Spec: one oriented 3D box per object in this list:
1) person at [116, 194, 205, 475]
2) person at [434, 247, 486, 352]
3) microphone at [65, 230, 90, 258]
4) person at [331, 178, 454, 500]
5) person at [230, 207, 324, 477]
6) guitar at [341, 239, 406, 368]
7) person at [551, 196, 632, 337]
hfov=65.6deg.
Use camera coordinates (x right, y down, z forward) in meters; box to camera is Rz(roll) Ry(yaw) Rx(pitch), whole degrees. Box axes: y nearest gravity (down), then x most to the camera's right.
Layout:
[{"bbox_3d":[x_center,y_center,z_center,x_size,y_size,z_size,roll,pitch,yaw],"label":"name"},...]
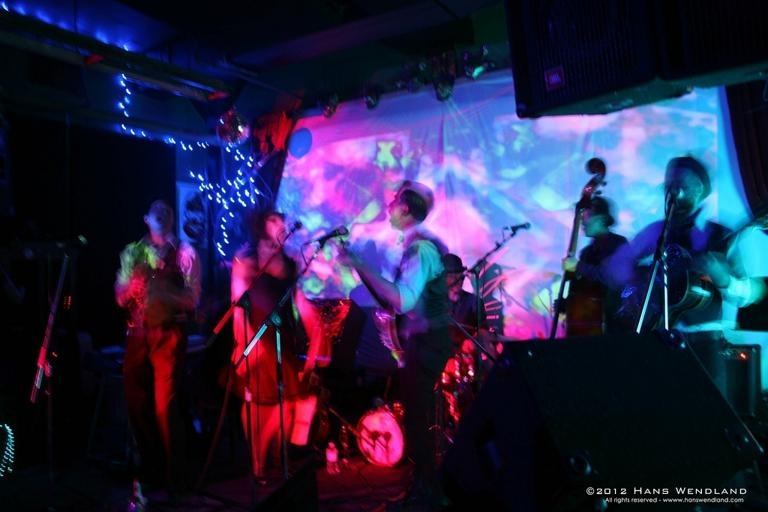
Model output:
[{"bbox_3d":[-2.024,0.879,5.342,0.682,2.055,0.574,5,14,27],"label":"person"},{"bbox_3d":[0.788,0.415,5.867,0.571,0.861,0.253,9,14,19],"label":"person"},{"bbox_3d":[-3.426,-0.133,6.602,0.401,0.307,0.146,-2,33,39],"label":"microphone"},{"bbox_3d":[0.219,0.756,4.588,0.589,2.489,0.701,5,14,26],"label":"person"},{"bbox_3d":[-0.977,0.836,5.277,0.779,2.402,1.053,0,12,2],"label":"person"},{"bbox_3d":[-0.085,0.484,5.659,0.177,0.492,1.226,-21,-28,4],"label":"guitar"},{"bbox_3d":[2.006,0.099,5.628,0.485,1.549,1.058,11,-11,16],"label":"person"}]
